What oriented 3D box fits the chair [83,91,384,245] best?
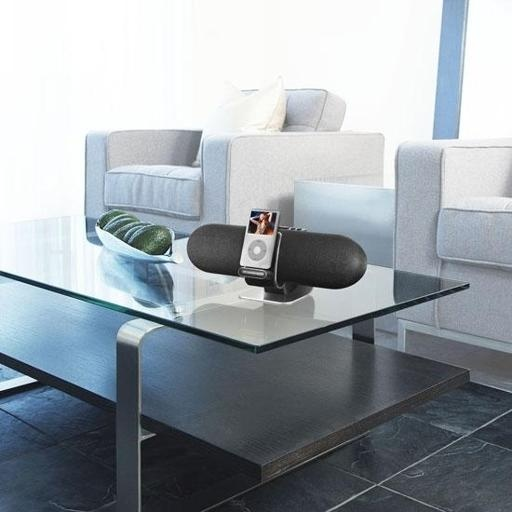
[{"bbox_3d":[-0.089,-0.471,3.097,1.235,0.851,1.630,-8,15,-39],"label":"chair"}]

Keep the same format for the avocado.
[{"bbox_3d":[-0.271,-0.057,1.176,0.179,0.054,0.096,12,26,40],"label":"avocado"}]
